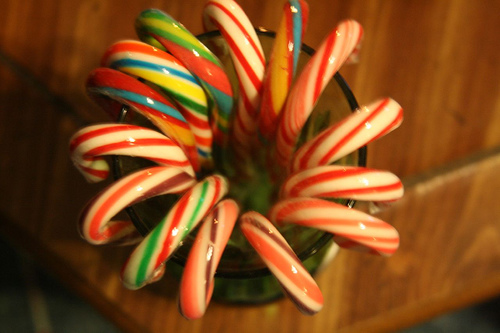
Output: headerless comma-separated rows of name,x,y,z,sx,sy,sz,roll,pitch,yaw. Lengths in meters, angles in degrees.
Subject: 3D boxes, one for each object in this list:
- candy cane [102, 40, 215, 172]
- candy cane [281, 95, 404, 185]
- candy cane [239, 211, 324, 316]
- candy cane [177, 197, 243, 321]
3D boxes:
candy cane,-0.141,-0.102,0.836,0.129,0.159,0.156,-5,30,-9
candy cane,0.142,-0.045,0.843,0.171,0.121,0.135,-3,21,-11
candy cane,0.035,0.139,0.799,0.069,0.057,0.205,-6,42,-42
candy cane,-0.055,0.133,0.799,0.043,0.139,0.158,14,26,18
